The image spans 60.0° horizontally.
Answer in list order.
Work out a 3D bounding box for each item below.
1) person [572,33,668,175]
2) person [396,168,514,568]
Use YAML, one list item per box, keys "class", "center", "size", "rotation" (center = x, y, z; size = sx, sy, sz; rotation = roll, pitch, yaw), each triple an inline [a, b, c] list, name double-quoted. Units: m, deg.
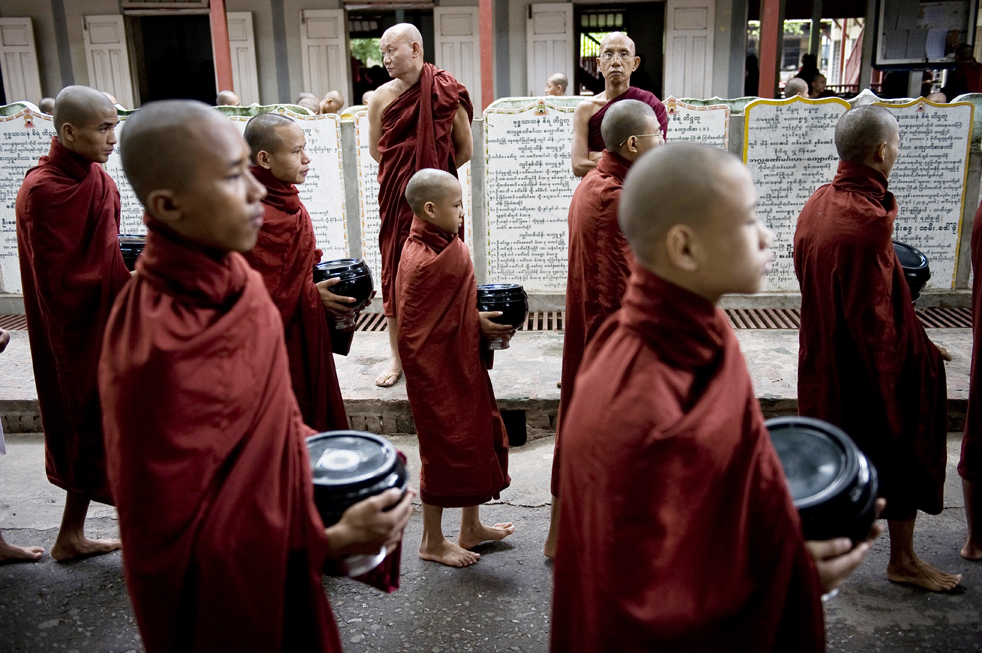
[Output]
- class: "person"
  center: [0.849, -1.251, 5.562]
  size: [0.695, 1.242, 0.357]
  rotation: [0, 10, 13]
- class: "person"
  center: [-0.167, 0.225, 4.233]
  size: [0.565, 1.989, 0.356]
  rotation: [-3, 12, -5]
